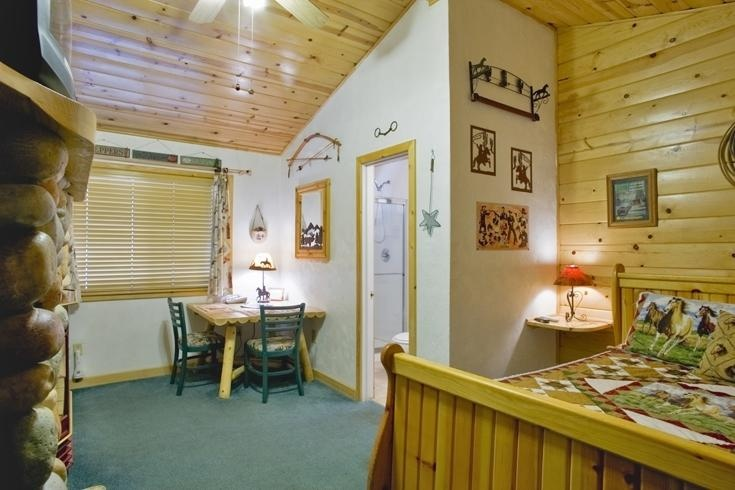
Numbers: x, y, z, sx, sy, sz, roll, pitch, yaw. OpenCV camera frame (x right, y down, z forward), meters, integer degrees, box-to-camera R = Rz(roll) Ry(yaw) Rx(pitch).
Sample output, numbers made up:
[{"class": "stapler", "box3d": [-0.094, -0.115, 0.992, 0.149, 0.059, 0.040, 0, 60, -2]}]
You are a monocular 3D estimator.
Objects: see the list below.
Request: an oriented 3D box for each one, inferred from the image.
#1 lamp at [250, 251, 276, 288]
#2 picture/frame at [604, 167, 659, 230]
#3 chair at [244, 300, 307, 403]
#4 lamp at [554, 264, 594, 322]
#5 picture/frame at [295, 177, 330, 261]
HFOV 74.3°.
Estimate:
[{"class": "lamp", "box3d": [-1.213, 0.297, 5.558, 0.249, 0.430, 0.505, -1, 6, -14]}, {"class": "picture/frame", "box3d": [2.308, -0.403, 4.193, 0.073, 0.726, 0.526, 5, -5, -34]}, {"class": "chair", "box3d": [-0.942, 1.025, 4.863, 0.618, 0.908, 0.667, -1, -1, -3]}, {"class": "lamp", "box3d": [1.832, 0.426, 4.301, 0.303, 0.470, 0.321, -2, -2, 40]}, {"class": "picture/frame", "box3d": [-0.580, -0.285, 5.220, 0.079, 1.016, 0.898, 1, -2, -34]}]
